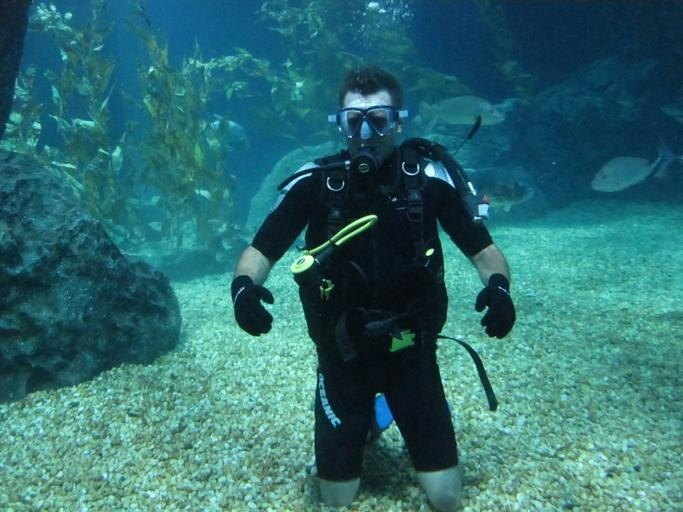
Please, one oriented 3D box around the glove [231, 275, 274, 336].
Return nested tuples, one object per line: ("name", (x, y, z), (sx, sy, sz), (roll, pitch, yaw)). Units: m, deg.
("glove", (-1.210, 0.680, 8.378), (0.557, 0.730, 0.446), (0, 20, -5))
